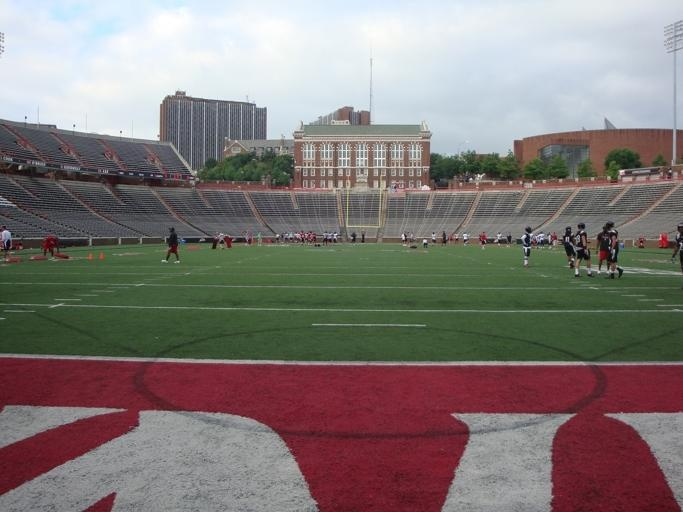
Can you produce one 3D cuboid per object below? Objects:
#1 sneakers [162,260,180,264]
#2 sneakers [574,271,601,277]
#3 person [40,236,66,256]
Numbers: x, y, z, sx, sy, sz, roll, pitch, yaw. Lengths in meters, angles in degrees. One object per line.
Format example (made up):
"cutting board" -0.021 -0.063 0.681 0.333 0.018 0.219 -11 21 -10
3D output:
"sneakers" -7.364 0.242 27.973 0.691 0.193 0.172 -1 4 2
"sneakers" 8.109 0.581 21.233 0.544 0.117 0.208 2 10 26
"person" -14.720 -0.565 32.739 1.788 0.567 2.683 1 -6 -22
